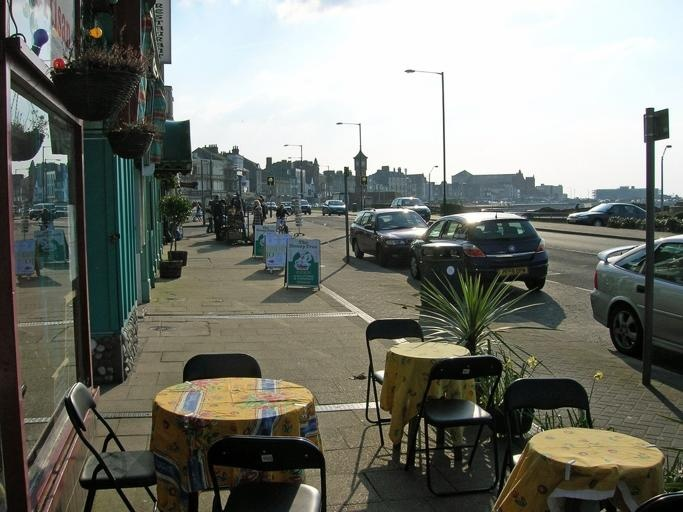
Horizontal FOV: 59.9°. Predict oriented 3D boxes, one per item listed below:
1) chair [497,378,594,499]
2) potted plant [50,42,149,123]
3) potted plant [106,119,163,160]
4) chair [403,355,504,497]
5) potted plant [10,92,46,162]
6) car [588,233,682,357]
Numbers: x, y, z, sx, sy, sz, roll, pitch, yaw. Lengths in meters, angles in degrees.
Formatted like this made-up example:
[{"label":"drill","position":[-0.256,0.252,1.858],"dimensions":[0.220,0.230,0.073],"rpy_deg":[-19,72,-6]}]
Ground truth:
[{"label":"chair","position":[1.674,1.424,4.768],"dimensions":[0.717,1.045,0.773],"rpy_deg":[-4,3,10]},{"label":"potted plant","position":[-1.976,-1.398,4.650],"dimensions":[0.761,0.651,0.837],"rpy_deg":[6,21,-7]},{"label":"potted plant","position":[-2.339,-1.302,6.559],"dimensions":[0.519,0.390,0.541],"rpy_deg":[-9,26,-36]},{"label":"chair","position":[0.981,1.423,5.254],"dimensions":[0.682,1.213,0.859],"rpy_deg":[0,1,6]},{"label":"potted plant","position":[-2.102,-0.813,3.882],"dimensions":[0.246,0.355,0.247],"rpy_deg":[5,1,43]},{"label":"car","position":[4.245,0.584,8.462],"dimensions":[0.638,1.716,1.943],"rpy_deg":[-2,6,-2]}]
